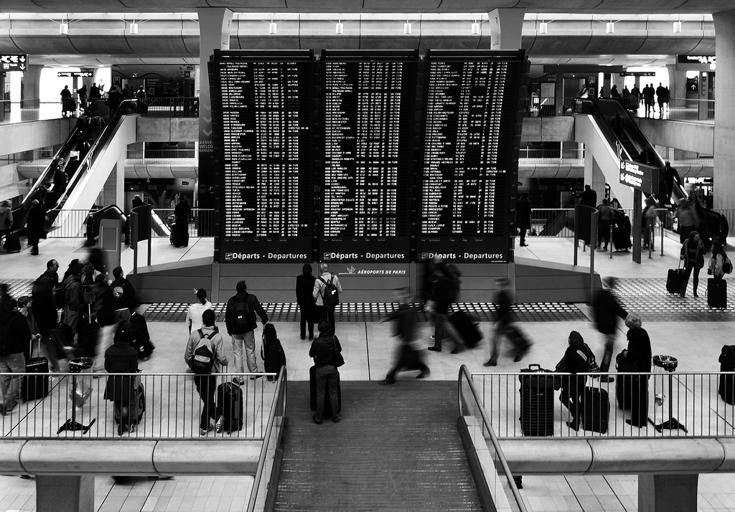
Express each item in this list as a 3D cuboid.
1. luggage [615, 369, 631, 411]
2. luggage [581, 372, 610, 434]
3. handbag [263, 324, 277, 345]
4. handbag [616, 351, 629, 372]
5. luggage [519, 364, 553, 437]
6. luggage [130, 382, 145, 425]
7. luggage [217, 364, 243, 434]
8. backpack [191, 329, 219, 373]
[{"bbox_3d":[4.292,2.285,13.616,0.250,0.816,0.638,0,9,16],"label":"luggage"},{"bbox_3d":[3.731,2.429,13.232,0.426,0.901,0.407,-1,9,12],"label":"luggage"},{"bbox_3d":[-1.772,1.416,14.691,0.266,0.330,0.329,0,-5,-5],"label":"handbag"},{"bbox_3d":[4.383,1.795,13.912,0.208,0.367,0.394,-1,9,15],"label":"handbag"},{"bbox_3d":[2.750,2.369,13.292,0.565,0.995,0.420,2,7,-1],"label":"luggage"},{"bbox_3d":[-3.764,2.440,13.317,0.204,0.566,0.480,6,-10,-2],"label":"luggage"},{"bbox_3d":[-2.238,2.453,13.094,0.409,0.895,0.409,-5,9,-16],"label":"luggage"},{"bbox_3d":[-2.703,1.565,13.235,0.442,0.640,0.512,-3,9,2],"label":"backpack"}]
